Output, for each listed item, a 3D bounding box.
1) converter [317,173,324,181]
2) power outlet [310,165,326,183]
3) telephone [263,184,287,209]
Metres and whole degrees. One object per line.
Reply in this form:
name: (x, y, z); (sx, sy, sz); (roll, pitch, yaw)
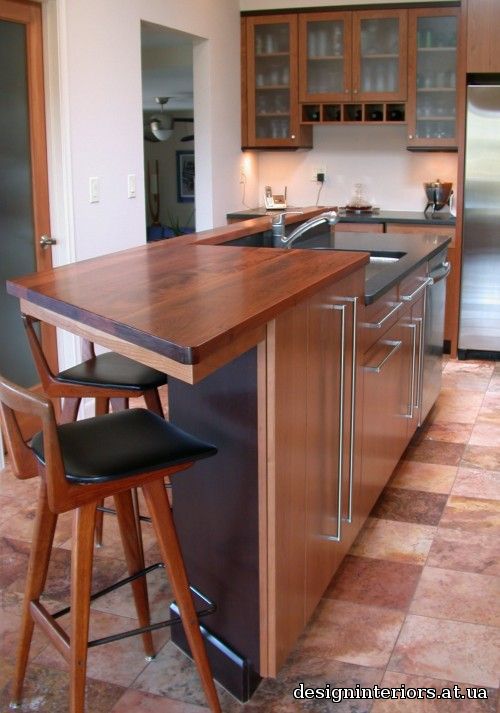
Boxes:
converter: (0.643, -1.651, 5.391); (0.083, 0.081, 0.058); (4, 23, 11)
power outlet: (0.621, -1.687, 5.363); (0.135, 0.138, 0.045); (8, 24, 20)
telephone: (0.222, -1.521, 5.329); (0.250, 0.299, 0.314); (0, 20, 7)
